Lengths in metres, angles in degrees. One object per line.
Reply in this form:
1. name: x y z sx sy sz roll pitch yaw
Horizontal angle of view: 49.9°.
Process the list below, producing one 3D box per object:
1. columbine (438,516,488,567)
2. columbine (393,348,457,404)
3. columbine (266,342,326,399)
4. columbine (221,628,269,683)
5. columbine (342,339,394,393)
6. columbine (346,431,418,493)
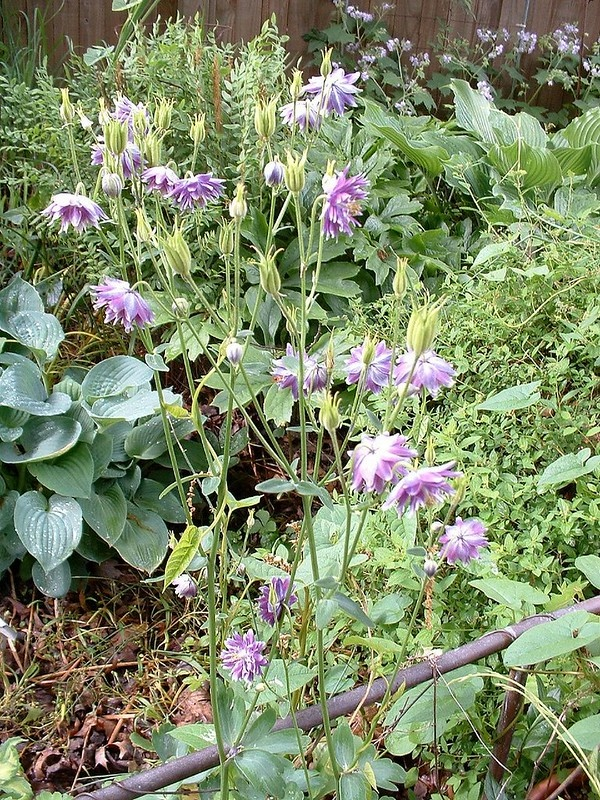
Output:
1. columbine: 0.185 0.165 0.768 0.057 0.057 0.019 -20 -2 -3
2. columbine: 0.124 -0.031 0.674 0.055 0.016 0.055 -18 48 -16
3. columbine: 0.002 -0.034 0.779 0.064 0.064 0.028 48 18 17
4. columbine: -0.070 0.348 0.880 0.051 0.029 0.057 3 -3 10
5. columbine: 0.076 -0.041 0.734 0.055 0.055 0.016 43 29 -16
6. columbine: 0.069 0.062 0.585 0.058 0.017 0.056 -15 5 -19
